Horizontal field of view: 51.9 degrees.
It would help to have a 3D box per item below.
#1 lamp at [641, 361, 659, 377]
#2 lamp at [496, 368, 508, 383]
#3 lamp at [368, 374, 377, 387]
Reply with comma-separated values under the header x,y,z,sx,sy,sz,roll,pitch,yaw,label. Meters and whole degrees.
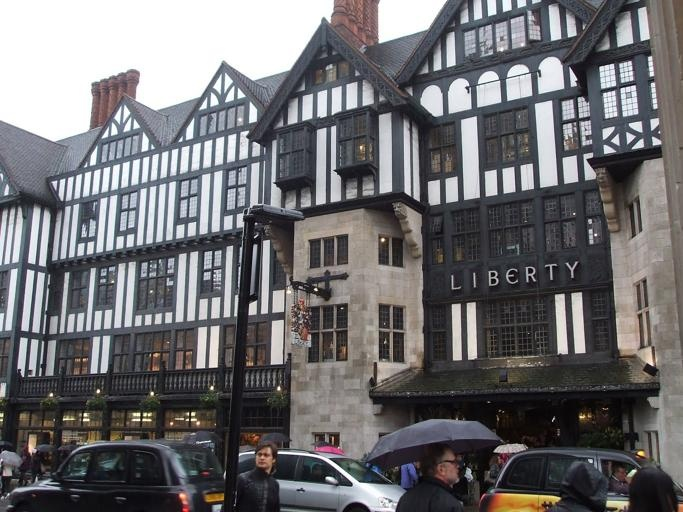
x,y,z,sx,sy,sz,roll,pitch,yaw,label
9.750,3.449,22.064,0.272,0.490,0.657,3,0,-8,lamp
5.565,4.109,24.046,0.279,0.437,0.415,-5,-15,6,lamp
1.207,4.778,26.864,0.283,0.402,0.410,-11,-16,18,lamp
